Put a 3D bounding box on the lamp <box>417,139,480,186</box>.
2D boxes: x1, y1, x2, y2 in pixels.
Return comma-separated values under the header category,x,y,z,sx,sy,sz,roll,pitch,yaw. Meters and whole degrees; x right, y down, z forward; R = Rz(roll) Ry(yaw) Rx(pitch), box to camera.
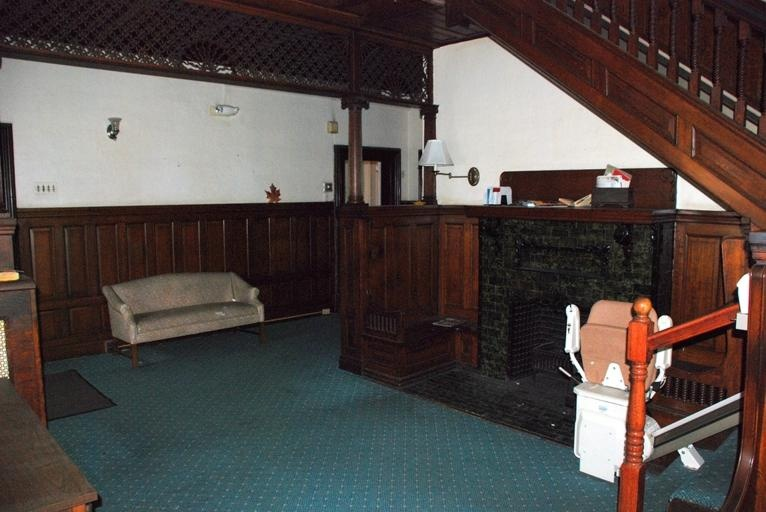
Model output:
category,x,y,z,sx,sy,sz,roll,pitch,yaw
lamp,0.713,-1.146,6.998,0.786,0.623,0.525,-5,5,-35
